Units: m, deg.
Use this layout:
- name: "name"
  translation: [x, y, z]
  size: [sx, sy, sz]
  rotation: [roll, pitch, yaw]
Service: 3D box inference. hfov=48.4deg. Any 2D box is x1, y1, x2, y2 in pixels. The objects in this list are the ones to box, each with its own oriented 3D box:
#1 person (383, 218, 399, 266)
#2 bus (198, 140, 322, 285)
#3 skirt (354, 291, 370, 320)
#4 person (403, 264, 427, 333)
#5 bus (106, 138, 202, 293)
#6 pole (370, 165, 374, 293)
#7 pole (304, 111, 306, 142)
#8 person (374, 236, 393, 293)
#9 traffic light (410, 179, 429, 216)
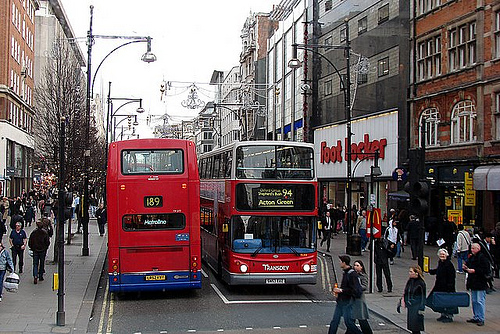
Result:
- name: "person"
  translation: [6.690, 3.521, 26.086]
  size: [0.970, 2.364, 0.684]
  rotation: [-12, 24, -12]
- name: "bus"
  translation: [0.146, 1.982, 25.650]
  size: [2.777, 4.346, 8.457]
  rotation: [0, -3, -11]
- name: "skirt"
  translation: [3.282, 4.139, 16.408]
  size: [0.534, 0.770, 0.286]
  rotation: [-1, 2, -36]
- name: "person"
  translation: [4.907, 3.966, 16.594]
  size: [0.636, 1.960, 0.424]
  rotation: [1, 2, 16]
- name: "bus"
  translation: [-5.837, 2.059, 22.688]
  size: [3.903, 6.081, 11.232]
  rotation: [0, 0, -8]
- name: "pole"
  translation: [4.813, 3.340, 22.064]
  size: [0.114, 3.397, 0.670]
  rotation: [1, 2, 12]
- name: "pole"
  translation: [5.297, -3.937, 53.600]
  size: [0.162, 2.745, 0.461]
  rotation: [0, 2, 6]
- name: "person"
  translation: [5.376, 3.905, 22.524]
  size: [0.796, 2.417, 0.849]
  rotation: [7, -27, -2]
- name: "traffic light"
  translation: [5.376, 0.982, 17.580]
  size: [0.536, 1.144, 0.469]
  rotation: [1, 2, 16]
